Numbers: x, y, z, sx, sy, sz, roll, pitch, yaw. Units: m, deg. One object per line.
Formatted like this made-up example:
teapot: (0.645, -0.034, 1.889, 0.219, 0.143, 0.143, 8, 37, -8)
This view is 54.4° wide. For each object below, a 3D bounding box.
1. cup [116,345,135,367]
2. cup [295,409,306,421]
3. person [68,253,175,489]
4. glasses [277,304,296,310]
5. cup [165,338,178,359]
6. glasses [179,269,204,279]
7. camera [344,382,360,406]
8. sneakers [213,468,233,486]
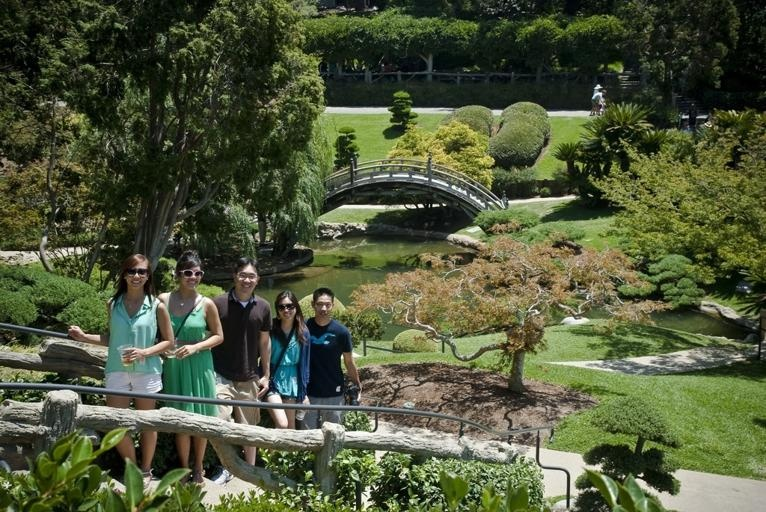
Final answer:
cup: (-3.978, 1.541, 11.462, 0.248, 0.358, 0.208, 0, 7, -6)
cup: (-1.423, 2.731, 12.680, 0.166, 0.185, 0.263, -7, -5, -12)
person: (-3.890, 1.751, 11.617, 1.214, 3.530, 0.986, -2, 7, -21)
glasses: (-1.628, 0.831, 12.430, 0.276, 0.097, 0.064, 1, 7, -4)
cup: (-3.332, 1.433, 11.730, 0.245, 0.273, 0.196, -2, 8, -29)
glasses: (-3.070, 0.262, 11.855, 0.324, 0.123, 0.154, -3, 8, -28)
camera: (-0.505, 2.314, 12.496, 0.221, 0.407, 0.388, -1, -16, 5)
sneakers: (-2.595, 3.538, 12.085, 0.231, 0.241, 0.538, 1, -3, 4)
